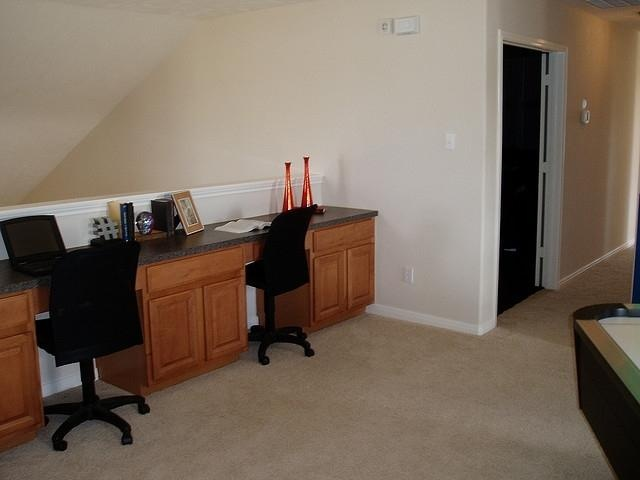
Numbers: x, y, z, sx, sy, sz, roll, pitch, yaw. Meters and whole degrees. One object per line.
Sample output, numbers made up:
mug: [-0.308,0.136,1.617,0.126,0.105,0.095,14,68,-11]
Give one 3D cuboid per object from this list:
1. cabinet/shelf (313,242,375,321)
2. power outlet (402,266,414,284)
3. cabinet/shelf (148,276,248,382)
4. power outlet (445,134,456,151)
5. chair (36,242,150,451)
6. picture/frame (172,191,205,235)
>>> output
cabinet/shelf: [0.184,0.337,4.120,0.293,0.544,0.580,6,11,41]
power outlet: [0.779,0.304,4.265,0.123,0.183,0.018,11,20,37]
cabinet/shelf: [-0.838,0.585,3.233,0.302,0.564,0.604,6,12,37]
power outlet: [1.053,-0.797,3.915,0.091,0.128,0.013,9,15,38]
chair: [-1.270,0.563,2.709,0.572,1.108,0.471,-7,14,-27]
picture/frame: [-0.976,-0.197,3.544,0.030,0.332,0.241,-16,9,29]
